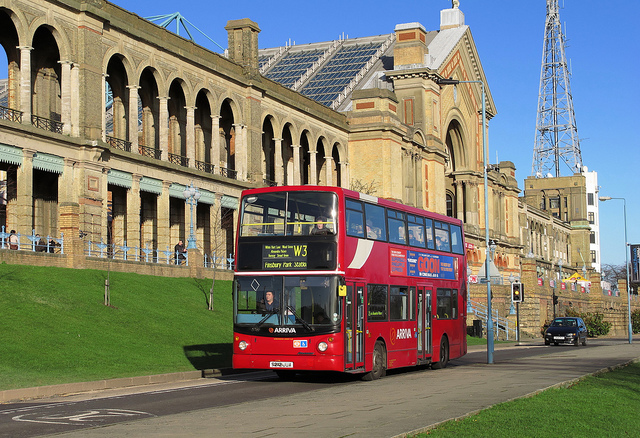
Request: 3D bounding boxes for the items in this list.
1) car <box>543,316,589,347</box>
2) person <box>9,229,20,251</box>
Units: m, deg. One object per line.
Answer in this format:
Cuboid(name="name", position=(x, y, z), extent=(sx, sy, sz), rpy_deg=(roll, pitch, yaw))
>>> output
Cuboid(name="car", position=(17.319, 7.810, 70.636), extent=(2.272, 2.008, 4.546), rpy_deg=(-1, -4, 28))
Cuboid(name="person", position=(-16.298, 1.139, 54.273), extent=(0.571, 0.994, 2.630), rpy_deg=(5, 0, -17))
